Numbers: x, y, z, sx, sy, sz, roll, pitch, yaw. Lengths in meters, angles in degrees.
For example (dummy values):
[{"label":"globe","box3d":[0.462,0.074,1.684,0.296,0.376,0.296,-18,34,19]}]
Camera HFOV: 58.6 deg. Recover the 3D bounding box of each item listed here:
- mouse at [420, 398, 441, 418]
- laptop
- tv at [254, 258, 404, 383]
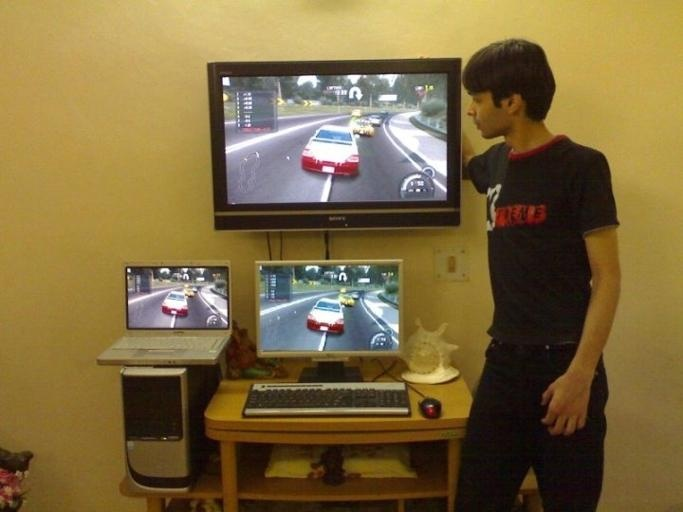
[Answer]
[{"label":"mouse","box3d":[0.374,0.636,2.540,0.093,0.067,0.066,0,11,7]},{"label":"laptop","box3d":[-0.743,0.235,2.653,0.511,0.370,0.382,0,6,-8]},{"label":"tv","box3d":[-0.061,0.290,2.802,0.556,0.405,0.150,0,3,2]}]
